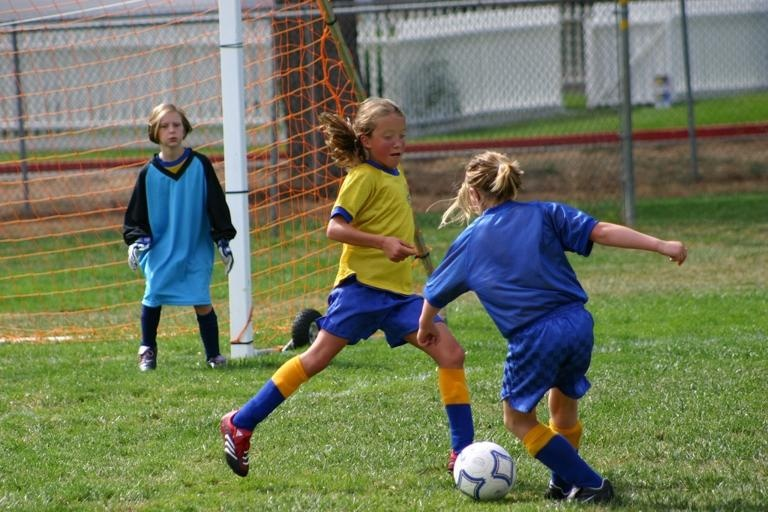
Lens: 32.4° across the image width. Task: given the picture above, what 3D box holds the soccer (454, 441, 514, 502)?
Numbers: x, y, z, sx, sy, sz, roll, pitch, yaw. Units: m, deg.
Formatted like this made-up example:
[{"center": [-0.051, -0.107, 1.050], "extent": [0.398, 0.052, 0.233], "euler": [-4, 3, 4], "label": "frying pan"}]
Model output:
[{"center": [0.908, 1.981, 12.102], "extent": [0.538, 0.529, 0.500], "euler": [8, -5, 34], "label": "soccer"}]

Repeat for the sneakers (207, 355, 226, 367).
[{"center": [-1.769, 1.121, 14.024], "extent": [0.179, 0.130, 0.096], "euler": [6, -12, 8], "label": "sneakers"}]

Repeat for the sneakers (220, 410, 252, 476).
[{"center": [-1.353, 1.744, 12.320], "extent": [0.271, 0.616, 0.202], "euler": [-12, -1, 7], "label": "sneakers"}]

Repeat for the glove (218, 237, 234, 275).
[{"center": [-1.629, -0.011, 13.833], "extent": [0.163, 0.397, 0.122], "euler": [-16, 21, -15], "label": "glove"}]

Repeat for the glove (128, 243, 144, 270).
[{"center": [-2.585, 0.045, 13.800], "extent": [0.142, 0.339, 0.138], "euler": [8, 46, -19], "label": "glove"}]
